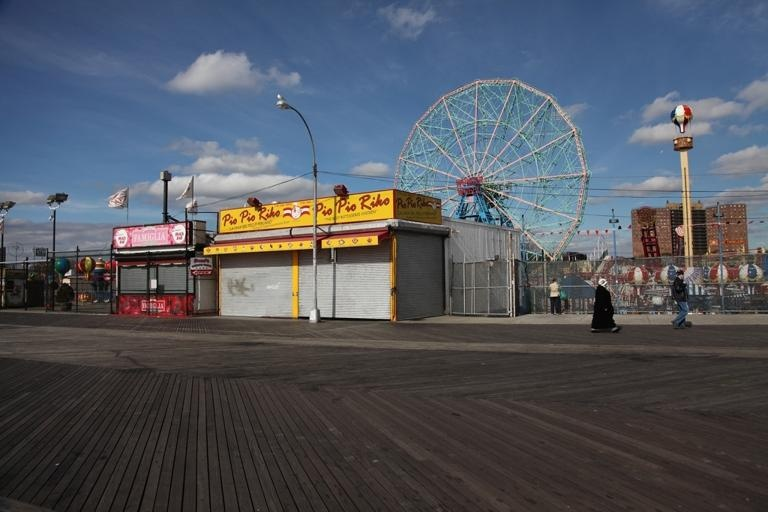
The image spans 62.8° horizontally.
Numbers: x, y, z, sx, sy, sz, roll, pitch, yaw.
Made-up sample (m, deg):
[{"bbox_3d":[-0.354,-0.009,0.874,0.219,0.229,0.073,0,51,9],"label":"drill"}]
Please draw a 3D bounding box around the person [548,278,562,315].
[{"bbox_3d":[8.093,1.862,29.674,0.477,1.743,1.166,2,8,16],"label":"person"}]
